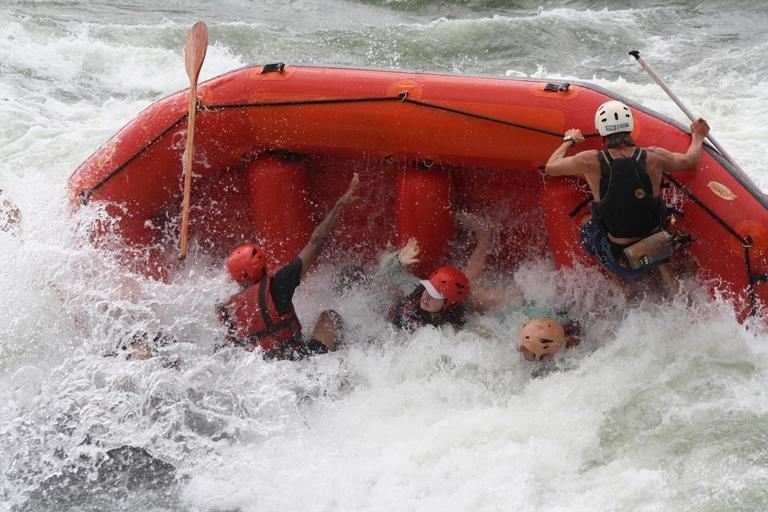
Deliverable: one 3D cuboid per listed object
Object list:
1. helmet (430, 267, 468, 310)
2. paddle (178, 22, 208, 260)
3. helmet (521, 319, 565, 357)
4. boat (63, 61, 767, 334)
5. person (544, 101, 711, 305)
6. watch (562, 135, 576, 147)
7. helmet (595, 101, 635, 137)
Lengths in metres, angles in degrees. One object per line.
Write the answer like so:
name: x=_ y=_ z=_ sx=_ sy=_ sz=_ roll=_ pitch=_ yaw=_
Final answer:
helmet: x=0.585 y=0.294 z=7.931 sx=0.349 sy=0.346 sz=0.189 roll=1 pitch=32 yaw=2
paddle: x=-1.831 y=-1.100 z=8.172 sx=0.282 sy=2.266 sz=0.099 roll=5 pitch=5 yaw=7
helmet: x=1.362 y=0.753 z=7.659 sx=0.314 sy=0.379 sz=0.213 roll=22 pitch=41 yaw=-18
boat: x=0.226 y=-0.854 z=7.998 sx=5.075 sy=2.789 sz=0.969 roll=3 pitch=19 yaw=12
person: x=2.135 y=-0.475 z=7.587 sx=1.366 sy=1.721 sz=0.952 roll=-11 pitch=46 yaw=15
watch: x=1.583 y=-0.998 z=7.514 sx=0.105 sy=0.067 sz=0.099 roll=13 pitch=3 yaw=44
helmet: x=1.983 y=-1.135 z=7.476 sx=0.299 sy=0.332 sz=0.389 roll=-10 pitch=-16 yaw=16
